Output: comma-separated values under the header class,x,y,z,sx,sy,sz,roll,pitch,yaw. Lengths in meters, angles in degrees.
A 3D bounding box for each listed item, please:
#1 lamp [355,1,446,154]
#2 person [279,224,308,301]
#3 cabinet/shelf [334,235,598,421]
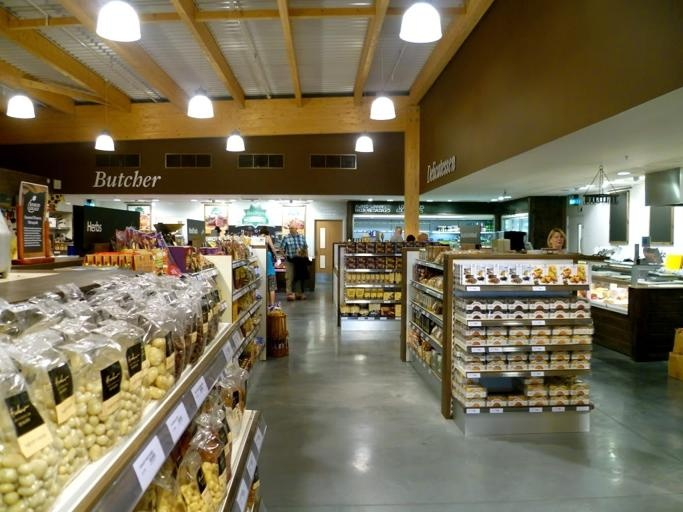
class,x,y,z,sx,sy,sz,roll,pitch,yaw
lamp,1.078,-3.201,8.337,0.527,2.063,0.717,14,41,-16
person,-1.146,0.128,11.378,0.613,1.742,0.513,-3,7,-12
cabinet/shelf,1.394,0.574,6.460,2.184,1.623,4.939,-2,6,-20
